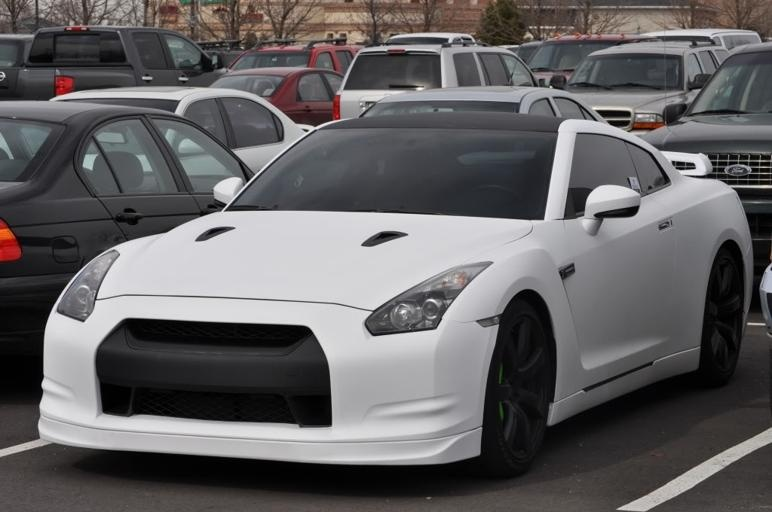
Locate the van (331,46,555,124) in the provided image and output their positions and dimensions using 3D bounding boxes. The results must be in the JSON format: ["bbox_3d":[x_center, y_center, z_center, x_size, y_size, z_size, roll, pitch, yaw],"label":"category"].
[{"bbox_3d":[0.939,-3.867,16.500,2.312,1.582,4.268,5,12,31],"label":"van"}]

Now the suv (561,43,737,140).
[{"bbox_3d":[5.131,-3.611,15.793,2.407,1.536,4.171,2,7,31],"label":"suv"}]

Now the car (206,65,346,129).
[{"bbox_3d":[-2.355,-3.716,18.105,1.527,0.911,3.067,3,9,22],"label":"car"}]

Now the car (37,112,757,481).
[{"bbox_3d":[0.597,0.027,5.155,2.328,1.281,4.120,1,3,35],"label":"car"}]
